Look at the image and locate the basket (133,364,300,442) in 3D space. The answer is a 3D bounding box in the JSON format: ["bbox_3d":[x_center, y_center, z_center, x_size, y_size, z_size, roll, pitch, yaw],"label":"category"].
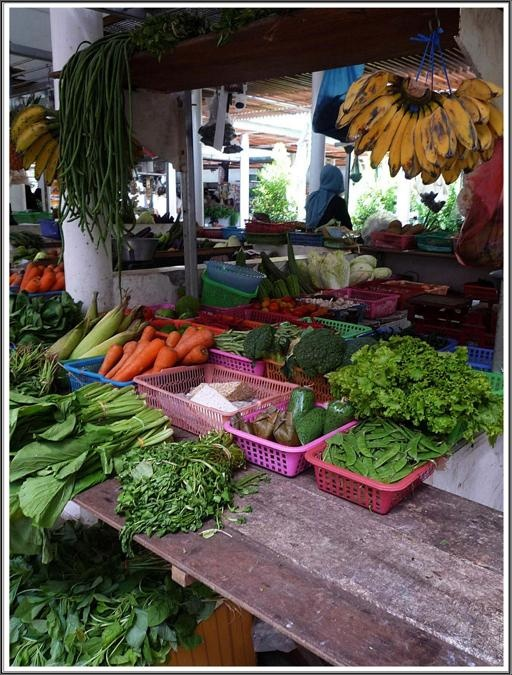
[{"bbox_3d":[-0.262,0.240,2.016,0.460,0.134,0.339,8,13,44],"label":"basket"}]

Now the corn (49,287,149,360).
[{"bbox_3d":[-0.838,-0.012,2.638,0.461,0.167,0.319,-35,43,-23],"label":"corn"}]

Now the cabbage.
[{"bbox_3d":[0.814,-0.619,4.396,0.736,0.366,0.527,2,17,7],"label":"cabbage"}]

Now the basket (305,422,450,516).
[{"bbox_3d":[0.350,0.364,1.565,0.393,0.192,0.368,-12,17,-43],"label":"basket"}]

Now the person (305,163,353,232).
[{"bbox_3d":[1.030,-2.012,6.831,0.684,0.942,0.595,-5,12,-17],"label":"person"}]

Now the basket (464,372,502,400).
[{"bbox_3d":[0.777,0.165,1.653,0.079,0.038,0.114,-2,16,-4],"label":"basket"}]

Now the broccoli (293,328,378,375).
[{"bbox_3d":[0.296,0.072,2.016,0.277,0.194,0.163,0,12,8],"label":"broccoli"}]

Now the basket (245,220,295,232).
[{"bbox_3d":[0.184,-1.398,6.097,0.527,0.158,0.473,3,12,18],"label":"basket"}]

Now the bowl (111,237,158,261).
[{"bbox_3d":[-0.970,-0.700,3.821,0.257,0.199,0.396,1,11,9],"label":"bowl"}]

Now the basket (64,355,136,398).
[{"bbox_3d":[-0.713,0.122,2.336,0.282,0.206,0.362,8,15,27],"label":"basket"}]

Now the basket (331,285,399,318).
[{"bbox_3d":[0.842,-0.295,3.711,0.316,0.126,0.374,-14,24,-31],"label":"basket"}]

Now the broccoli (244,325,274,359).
[{"bbox_3d":[0.015,0.031,2.281,0.150,0.171,0.127,-1,12,1],"label":"broccoli"}]

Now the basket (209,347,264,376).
[{"bbox_3d":[-0.100,0.122,2.397,0.219,0.056,0.140,5,-8,30],"label":"basket"}]
